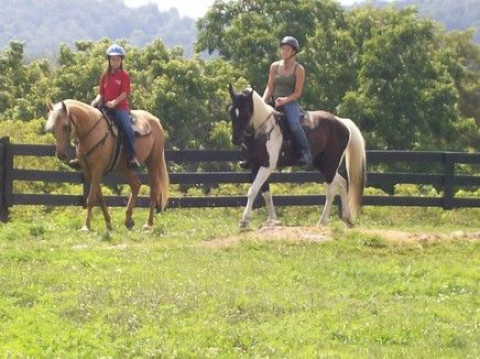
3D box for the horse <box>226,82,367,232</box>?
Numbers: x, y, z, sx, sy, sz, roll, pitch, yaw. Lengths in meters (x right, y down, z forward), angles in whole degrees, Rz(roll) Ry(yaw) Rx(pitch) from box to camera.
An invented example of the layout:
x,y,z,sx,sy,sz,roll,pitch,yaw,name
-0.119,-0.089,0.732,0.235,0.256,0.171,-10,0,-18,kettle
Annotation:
x,y,z,sx,sy,sz,roll,pitch,yaw,name
2.506,-0.721,40.363,6.508,6.202,1.808,1,0,-26,horse
